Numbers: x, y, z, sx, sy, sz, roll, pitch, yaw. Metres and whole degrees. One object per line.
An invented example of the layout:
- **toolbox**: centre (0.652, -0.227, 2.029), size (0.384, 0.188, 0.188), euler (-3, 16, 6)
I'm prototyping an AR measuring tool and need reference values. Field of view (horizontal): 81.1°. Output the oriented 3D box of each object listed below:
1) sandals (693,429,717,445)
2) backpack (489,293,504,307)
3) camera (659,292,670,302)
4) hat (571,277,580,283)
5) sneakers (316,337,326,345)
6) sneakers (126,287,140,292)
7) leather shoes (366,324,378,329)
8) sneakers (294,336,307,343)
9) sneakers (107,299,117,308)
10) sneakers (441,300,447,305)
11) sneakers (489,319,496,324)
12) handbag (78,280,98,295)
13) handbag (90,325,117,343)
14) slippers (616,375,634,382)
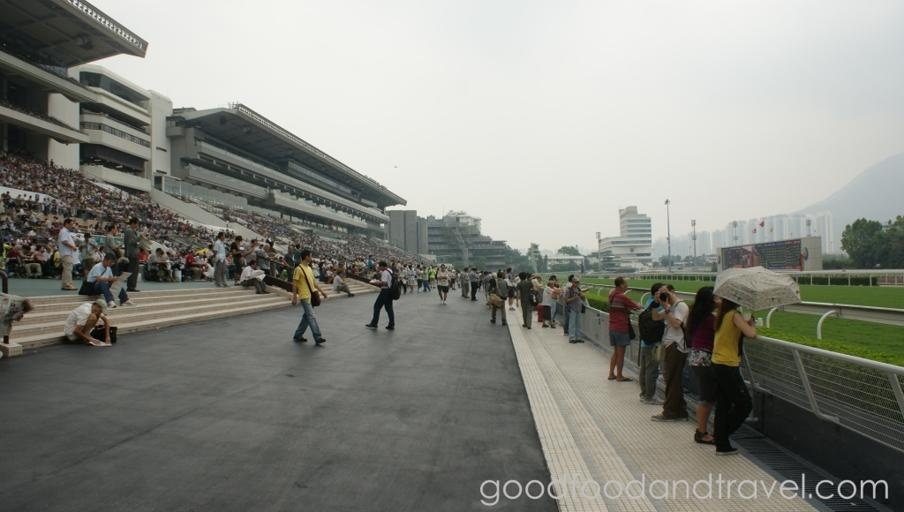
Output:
- **sandals**: centre (4.926, 3.513, 10.267), size (0.419, 0.174, 0.161), euler (-1, 1, 17)
- **backpack**: centre (1.744, 1.741, 20.843), size (0.231, 0.519, 0.408), euler (-18, -35, 14)
- **camera**: centre (4.553, 0.856, 11.279), size (0.171, 0.191, 0.179), euler (1, -4, -8)
- **hat**: centre (3.891, 0.715, 16.507), size (0.208, 0.210, 0.160), euler (14, -1, -25)
- **sneakers**: centre (-3.785, 2.411, 15.214), size (0.299, 0.201, 0.148), euler (-4, 1, -9)
- **sneakers**: centre (-11.082, 1.128, 18.260), size (0.329, 0.135, 0.102), euler (6, 28, -36)
- **leather shoes**: centre (-2.760, 2.368, 17.946), size (0.425, 0.179, 0.143), euler (8, -8, 4)
- **sneakers**: centre (-4.554, 2.431, 15.566), size (0.515, 0.211, 0.168), euler (8, 2, -9)
- **sneakers**: centre (-10.362, 1.423, 16.014), size (0.235, 0.242, 0.577), euler (3, -8, -42)
- **sneakers**: centre (-0.448, 2.527, 29.421), size (0.139, 0.169, 0.398), euler (2, -8, -35)
- **sneakers**: centre (1.666, 2.552, 21.231), size (0.182, 0.208, 0.410), euler (4, 3, 1)
- **handbag**: centre (-11.282, 0.959, 16.340), size (0.489, 0.633, 0.349), euler (3, -2, -29)
- **handbag**: centre (-9.454, 2.079, 14.315), size (0.520, 0.483, 0.360), euler (5, 1, -25)
- **slippers**: centre (4.334, 3.043, 13.224), size (0.337, 0.120, 0.175), euler (-2, -2, 7)
